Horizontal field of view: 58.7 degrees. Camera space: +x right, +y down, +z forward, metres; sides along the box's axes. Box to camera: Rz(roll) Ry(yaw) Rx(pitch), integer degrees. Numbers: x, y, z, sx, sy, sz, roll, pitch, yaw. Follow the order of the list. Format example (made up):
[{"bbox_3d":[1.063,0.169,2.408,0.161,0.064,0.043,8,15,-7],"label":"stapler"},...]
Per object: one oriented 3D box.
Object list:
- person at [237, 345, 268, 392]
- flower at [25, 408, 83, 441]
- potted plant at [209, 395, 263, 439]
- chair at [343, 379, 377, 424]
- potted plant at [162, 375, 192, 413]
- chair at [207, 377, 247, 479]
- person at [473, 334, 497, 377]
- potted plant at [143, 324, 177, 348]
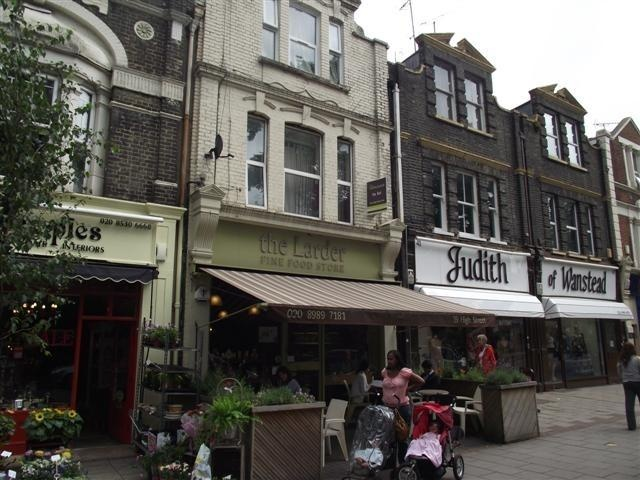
[{"bbox_3d":[-1.797,3.284,14.653,0.408,1.366,0.739,-19,-24,31],"label":"person"},{"bbox_3d":[-5.227,3.618,11.346,0.872,0.557,0.872,-4,-18,1],"label":"flower"},{"bbox_3d":[-1.649,3.136,10.278,0.673,0.507,0.696,5,-7,-29],"label":"potted plant"},{"bbox_3d":[1.065,4.321,15.345,0.916,1.131,0.924,10,-21,-29],"label":"chair"},{"bbox_3d":[-3.125,3.285,11.956,0.564,0.767,0.766,-10,-17,37],"label":"potted plant"},{"bbox_3d":[-1.740,3.472,10.650,0.691,1.700,1.360,1,-13,-9],"label":"chair"},{"bbox_3d":[5.049,3.524,17.536,0.474,1.667,0.863,5,-11,-6],"label":"person"},{"bbox_3d":[-3.410,2.031,12.097,0.536,0.432,0.545,2,-11,-2],"label":"potted plant"}]
